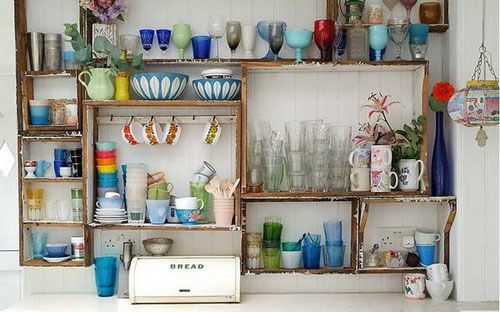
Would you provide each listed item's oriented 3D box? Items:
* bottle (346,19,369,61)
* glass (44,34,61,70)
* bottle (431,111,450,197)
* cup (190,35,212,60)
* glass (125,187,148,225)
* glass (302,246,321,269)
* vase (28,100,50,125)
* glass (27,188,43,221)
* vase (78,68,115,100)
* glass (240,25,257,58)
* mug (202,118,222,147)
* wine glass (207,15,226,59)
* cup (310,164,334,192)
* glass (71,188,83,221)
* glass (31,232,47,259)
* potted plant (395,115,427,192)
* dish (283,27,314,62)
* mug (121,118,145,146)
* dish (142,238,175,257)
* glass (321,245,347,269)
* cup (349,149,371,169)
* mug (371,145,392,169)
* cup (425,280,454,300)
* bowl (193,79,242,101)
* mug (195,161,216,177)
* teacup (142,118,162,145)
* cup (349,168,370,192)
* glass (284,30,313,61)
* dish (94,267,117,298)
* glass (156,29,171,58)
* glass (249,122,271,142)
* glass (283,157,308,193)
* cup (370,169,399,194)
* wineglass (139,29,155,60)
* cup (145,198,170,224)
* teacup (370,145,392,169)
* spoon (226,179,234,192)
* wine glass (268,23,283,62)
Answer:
[{"bbox_3d":[0.764,-0.811,3.902,0.159,0.299,0.115,0,1,11],"label":"bottle"},{"bbox_3d":[-1.433,-0.733,3.975,0.148,0.256,0.145,-2,3,2],"label":"glass"},{"bbox_3d":[1.354,-0.015,3.915,0.114,0.637,0.125,2,-9,0],"label":"bottle"},{"bbox_3d":[-0.349,-0.755,3.956,0.165,0.156,0.158,-1,-3,0],"label":"cup"},{"bbox_3d":[-0.795,0.349,3.877,0.152,0.261,0.097,-1,1,-15],"label":"glass"},{"bbox_3d":[0.434,0.728,3.948,0.139,0.162,0.141,4,-6,-32],"label":"glass"},{"bbox_3d":[-1.499,-0.310,3.922,0.148,0.181,0.157,2,2,10],"label":"vase"},{"bbox_3d":[-1.554,0.360,3.981,0.137,0.226,0.135,0,-5,-30],"label":"glass"},{"bbox_3d":[-1.095,-0.492,3.889,0.257,0.264,0.184,-1,-7,8],"label":"vase"},{"bbox_3d":[-0.006,-0.807,3.943,0.124,0.224,0.066,-1,1,-14],"label":"glass"},{"bbox_3d":[-0.267,-0.163,3.934,0.068,0.179,0.116,13,9,-4],"label":"mug"},{"bbox_3d":[-0.238,-0.895,3.865,0.121,0.162,0.052,-1,1,-4],"label":"wine glass"},{"bbox_3d":[0.527,0.157,3.910,0.166,0.198,0.172,-7,12,2],"label":"cup"},{"bbox_3d":[-1.236,0.351,3.925,0.080,0.217,0.039,-1,1,-2],"label":"glass"},{"bbox_3d":[-1.524,0.645,3.968,0.103,0.186,0.044,-1,1,-21],"label":"glass"},{"bbox_3d":[1.127,0.018,3.863,0.204,0.460,0.133,0,1,7],"label":"potted plant"},{"bbox_3d":[0.360,-0.753,3.907,0.222,0.244,0.220,-1,-2,17],"label":"dish"},{"bbox_3d":[-0.830,-0.150,3.925,0.080,0.199,0.124,-10,-14,18],"label":"mug"},{"bbox_3d":[-0.654,0.657,3.931,0.235,0.120,0.174,-1,2,-10],"label":"dish"},{"bbox_3d":[0.595,0.714,3.895,0.161,0.138,0.149,0,-6,-4],"label":"glass"},{"bbox_3d":[0.775,0.026,3.851,0.166,0.165,0.098,1,0,-30],"label":"cup"},{"bbox_3d":[0.932,0.014,3.830,0.124,0.176,0.196,-2,4,-13],"label":"mug"},{"bbox_3d":[1.310,0.919,3.792,0.122,0.099,0.145,-1,-1,11],"label":"cup"},{"bbox_3d":[-0.232,-0.445,3.939,0.293,0.116,0.303,2,-7,0],"label":"bowl"},{"bbox_3d":[-0.317,0.099,3.921,0.097,0.107,0.114,34,25,-23],"label":"mug"},{"bbox_3d":[-0.664,-0.164,4.008,0.188,0.151,0.250,-5,14,-26],"label":"teacup"},{"bbox_3d":[0.767,0.167,3.870,0.147,0.159,0.106,0,1,18],"label":"cup"},{"bbox_3d":[0.344,-0.765,3.897,0.194,0.225,0.194,1,5,18],"label":"glass"},{"bbox_3d":[-1.041,0.871,3.956,0.160,0.191,0.159,-3,12,8],"label":"dish"},{"bbox_3d":[-0.616,-0.809,3.906,0.123,0.208,0.127,0,-2,2],"label":"glass"},{"bbox_3d":[0.078,-0.164,3.932,0.122,0.132,0.134,-4,-7,36],"label":"glass"},{"bbox_3d":[0.329,0.130,3.859,0.155,0.237,0.064,0,1,5],"label":"glass"},{"bbox_3d":[0.945,0.178,3.859,0.210,0.163,0.137,0,-2,27],"label":"cup"},{"bbox_3d":[-0.741,-0.824,4.008,0.128,0.219,0.127,1,1,-17],"label":"wineglass"},{"bbox_3d":[-0.647,0.386,3.845,0.156,0.149,0.161,-2,-4,0],"label":"cup"},{"bbox_3d":[0.932,0.014,3.832,0.124,0.179,0.195,-3,2,-21],"label":"teacup"},{"bbox_3d":[-0.138,0.204,3.859,0.057,0.077,0.032,0,1,10],"label":"spoon"},{"bbox_3d":[0.184,-0.784,3.879,0.096,0.261,0.155,-1,1,2],"label":"wine glass"}]
